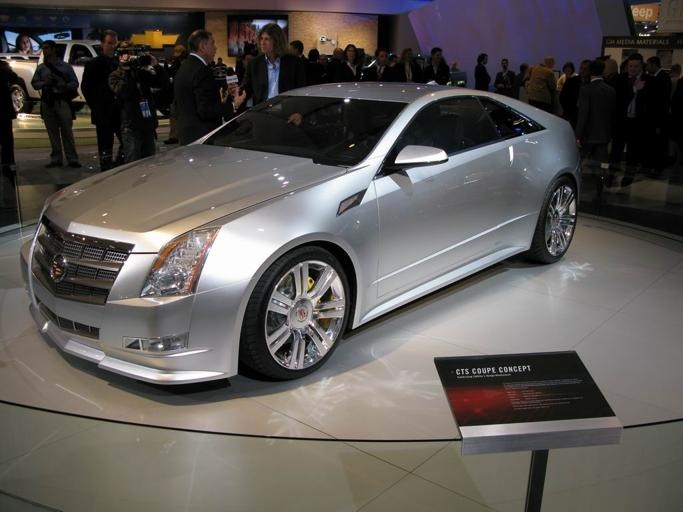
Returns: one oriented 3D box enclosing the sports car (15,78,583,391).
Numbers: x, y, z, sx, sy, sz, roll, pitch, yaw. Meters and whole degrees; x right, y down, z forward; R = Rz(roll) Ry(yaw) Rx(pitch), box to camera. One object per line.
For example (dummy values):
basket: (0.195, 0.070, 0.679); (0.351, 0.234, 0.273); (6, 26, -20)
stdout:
sports car: (0.070, -0.348, 3.556); (4.104, 1.410, 2.104); (-15, 25, -37)

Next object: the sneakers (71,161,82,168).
sneakers: (-3.473, -1.188, 5.772); (0.164, 0.062, 0.073); (7, -16, -5)
